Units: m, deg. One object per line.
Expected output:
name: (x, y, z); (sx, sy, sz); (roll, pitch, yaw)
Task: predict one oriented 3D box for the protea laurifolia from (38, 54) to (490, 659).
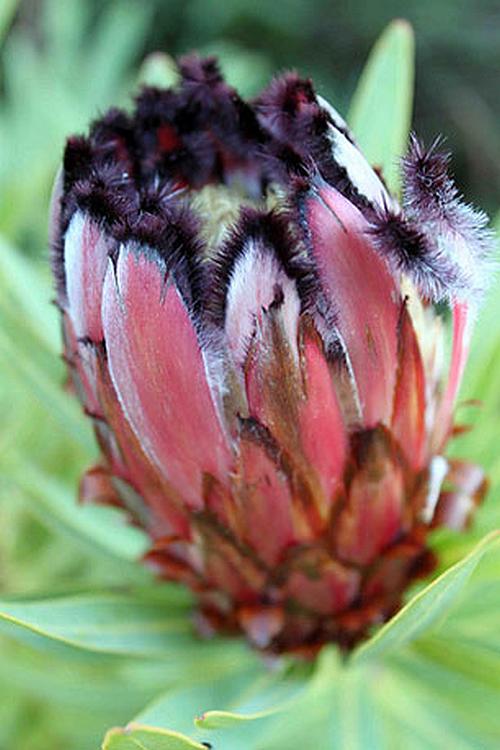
protea laurifolia: (0.054, -0.083, 0.906); (0.479, 0.682, 0.514); (-7, 27, -9)
